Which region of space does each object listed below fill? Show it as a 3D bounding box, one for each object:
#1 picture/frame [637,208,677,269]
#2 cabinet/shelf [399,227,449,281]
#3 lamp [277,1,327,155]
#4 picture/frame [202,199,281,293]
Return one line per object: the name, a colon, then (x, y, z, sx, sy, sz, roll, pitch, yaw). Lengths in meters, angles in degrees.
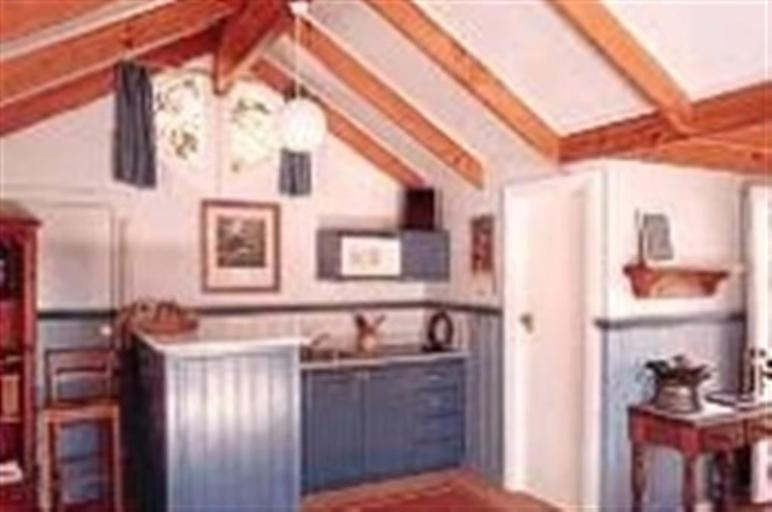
picture/frame: (2.365, -0.168, 6.243, 0.340, 0.420, 0.055, 2, -4, -15)
cabinet/shelf: (0.449, -0.031, 8.229, 0.595, 0.557, 0.150, -2, 8, 17)
lamp: (-0.822, -1.661, 6.873, 0.414, 1.488, 1.244, 1, -4, -9)
picture/frame: (-1.611, -0.123, 7.715, 1.011, 1.167, 0.093, -1, 1, -25)
